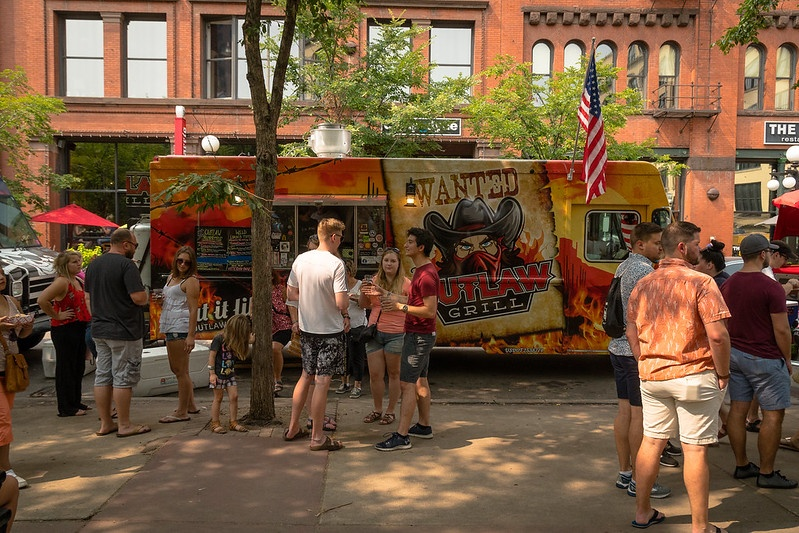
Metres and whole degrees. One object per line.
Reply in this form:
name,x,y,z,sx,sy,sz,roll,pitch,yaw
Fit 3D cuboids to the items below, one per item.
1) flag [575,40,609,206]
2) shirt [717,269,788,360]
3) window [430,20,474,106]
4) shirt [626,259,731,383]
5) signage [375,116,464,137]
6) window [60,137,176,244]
flag,3.844,-2.773,19.059,0.446,2.973,0.885,-2,4,10
shirt,5.554,0.809,15.033,0.843,1.478,1.446,-7,6,-43
window,1.797,-7.215,32.023,1.572,1.887,0.715,-3,4,-15
shirt,4.089,0.875,14.164,1.972,1.848,1.077,-1,3,40
signage,0.484,-4.123,27.838,2.296,0.334,0.441,-3,-31,-14
window,-7.902,-2.263,26.427,4.230,3.865,0.200,2,16,-2
